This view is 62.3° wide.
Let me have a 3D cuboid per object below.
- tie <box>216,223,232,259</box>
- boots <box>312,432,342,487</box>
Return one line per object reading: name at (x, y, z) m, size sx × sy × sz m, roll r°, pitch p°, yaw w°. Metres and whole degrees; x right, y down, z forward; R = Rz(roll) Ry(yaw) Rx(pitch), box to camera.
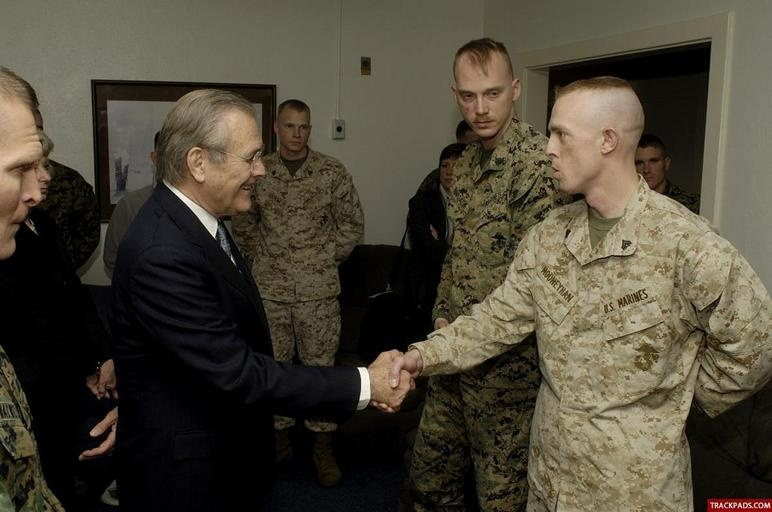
tie at (-0.651, -0.062, 2.581) m, size 0.020 × 0.119 × 0.117 m, roll -18°, pitch 35°, yaw 11°
boots at (-0.367, 1.225, 3.926) m, size 0.132 × 0.266 × 0.384 m, roll -3°, pitch 19°, yaw -15°
